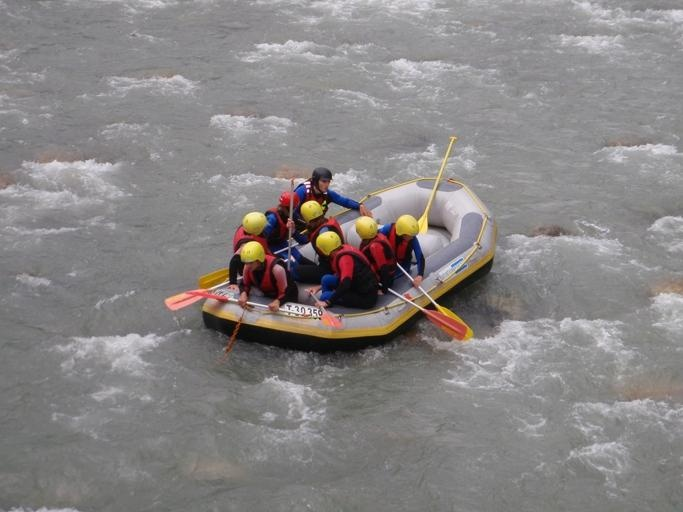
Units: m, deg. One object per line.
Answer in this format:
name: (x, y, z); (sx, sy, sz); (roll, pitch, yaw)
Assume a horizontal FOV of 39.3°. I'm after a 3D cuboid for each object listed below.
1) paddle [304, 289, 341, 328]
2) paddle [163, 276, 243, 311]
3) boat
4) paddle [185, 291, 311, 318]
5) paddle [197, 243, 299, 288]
paddle: (-0.374, 0.988, 17.766); (0.327, 0.058, 1.023); (-38, 47, -5)
paddle: (-2.681, 0.713, 17.955); (1.754, 0.521, 0.188); (-16, 63, 38)
boat: (1.112, 0.426, 18.449); (3.165, 1.088, 5.291); (26, 47, 36)
paddle: (-1.655, 0.885, 17.813); (1.693, 0.203, 0.074); (12, 34, 13)
paddle: (-2.041, 0.447, 18.951); (2.162, 0.518, 0.710); (-20, 35, -16)
